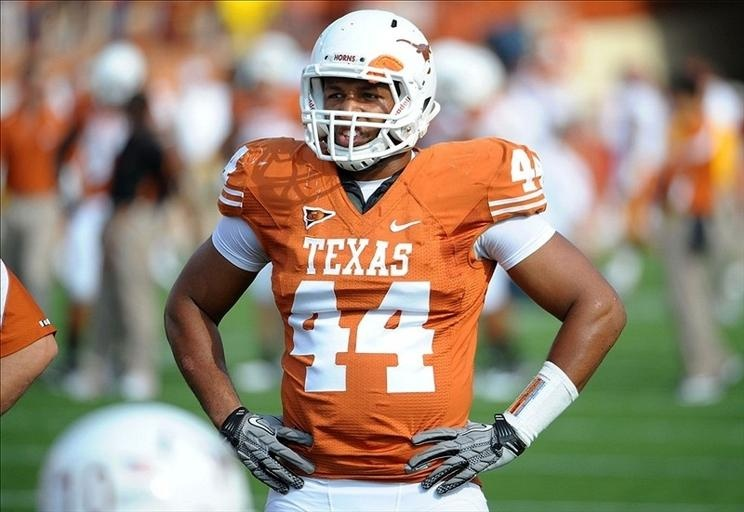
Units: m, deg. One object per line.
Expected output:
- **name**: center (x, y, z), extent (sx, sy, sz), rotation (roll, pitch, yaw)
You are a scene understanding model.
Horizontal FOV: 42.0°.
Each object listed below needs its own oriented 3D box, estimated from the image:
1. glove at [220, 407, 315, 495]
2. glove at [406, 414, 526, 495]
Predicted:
- **glove**: center (-0.407, 0.759, 3.783), extent (0.356, 0.107, 0.266), rotation (35, 75, 8)
- **glove**: center (0.359, 0.759, 3.709), extent (0.406, 0.250, 0.145), rotation (-29, -13, -8)
